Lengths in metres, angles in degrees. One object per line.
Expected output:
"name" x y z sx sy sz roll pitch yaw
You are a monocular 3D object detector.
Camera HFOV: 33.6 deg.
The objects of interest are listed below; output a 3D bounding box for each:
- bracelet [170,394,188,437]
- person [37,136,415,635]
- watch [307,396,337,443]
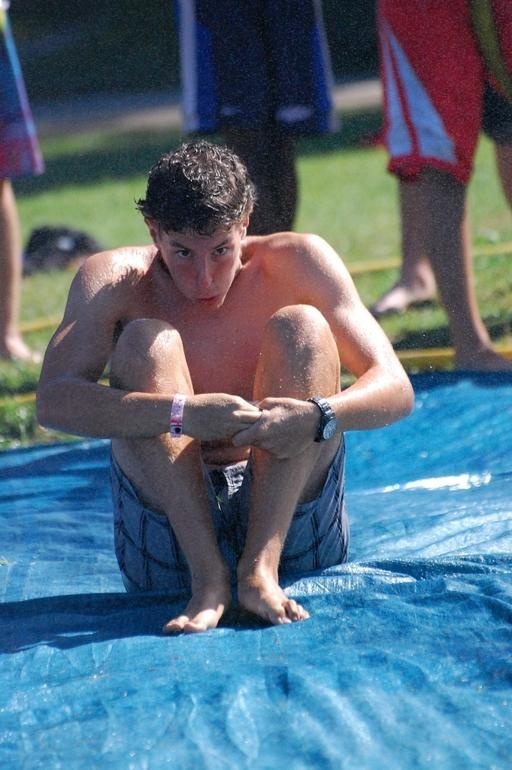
"bracelet" -0.140 0.056 1.493 0.037 0.066 0.063 5 20 -7
"person" -0.044 -0.012 1.718 0.724 0.857 0.706 -2 9 7
"watch" 0.122 0.063 1.495 0.051 0.080 0.073 -7 12 -39
